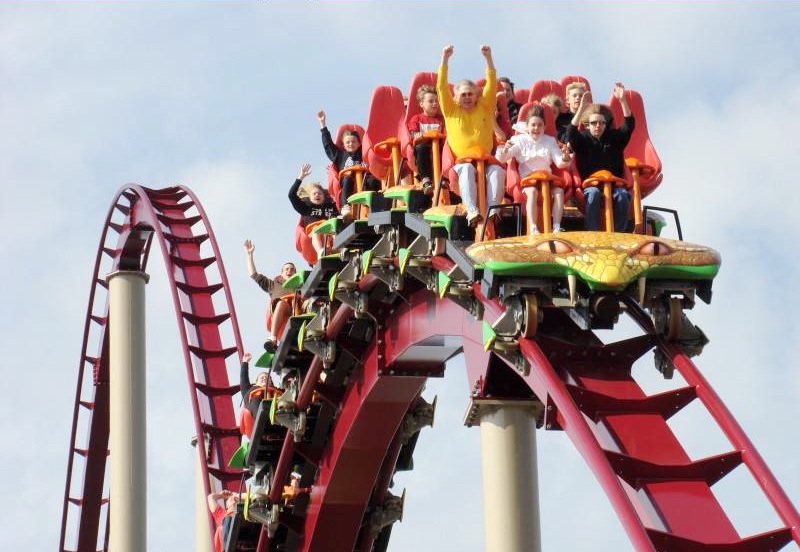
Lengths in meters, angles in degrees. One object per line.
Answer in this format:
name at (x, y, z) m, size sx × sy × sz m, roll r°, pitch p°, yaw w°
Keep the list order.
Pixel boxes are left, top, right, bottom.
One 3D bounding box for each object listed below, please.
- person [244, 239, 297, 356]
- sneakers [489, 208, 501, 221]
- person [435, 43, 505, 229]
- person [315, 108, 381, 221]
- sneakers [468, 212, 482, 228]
person at (-1.930, 0.422, 24.452) m, size 1.365 × 2.287 × 0.647 m, roll 5°, pitch -44°, yaw -13°
sneakers at (1.243, -0.838, 19.649) m, size 0.128 × 0.141 × 0.158 m, roll -4°, pitch 5°, yaw -21°
person at (0.994, -1.885, 20.170) m, size 0.873 × 2.777 × 1.228 m, roll -7°, pitch -32°, yaw 2°
person at (-0.813, -1.687, 22.991) m, size 0.921 × 1.530 × 0.650 m, roll -20°, pitch -34°, yaw 22°
sneakers at (0.975, -0.769, 19.626) m, size 0.096 × 0.123 × 0.264 m, roll -1°, pitch -11°, yaw -15°
